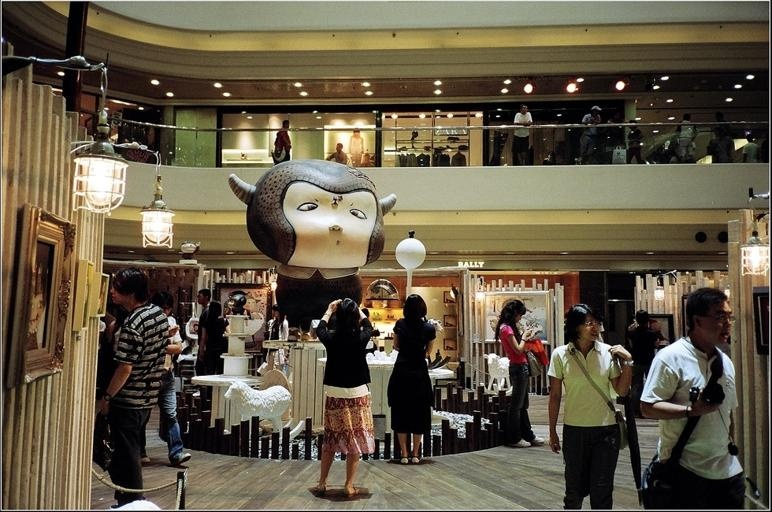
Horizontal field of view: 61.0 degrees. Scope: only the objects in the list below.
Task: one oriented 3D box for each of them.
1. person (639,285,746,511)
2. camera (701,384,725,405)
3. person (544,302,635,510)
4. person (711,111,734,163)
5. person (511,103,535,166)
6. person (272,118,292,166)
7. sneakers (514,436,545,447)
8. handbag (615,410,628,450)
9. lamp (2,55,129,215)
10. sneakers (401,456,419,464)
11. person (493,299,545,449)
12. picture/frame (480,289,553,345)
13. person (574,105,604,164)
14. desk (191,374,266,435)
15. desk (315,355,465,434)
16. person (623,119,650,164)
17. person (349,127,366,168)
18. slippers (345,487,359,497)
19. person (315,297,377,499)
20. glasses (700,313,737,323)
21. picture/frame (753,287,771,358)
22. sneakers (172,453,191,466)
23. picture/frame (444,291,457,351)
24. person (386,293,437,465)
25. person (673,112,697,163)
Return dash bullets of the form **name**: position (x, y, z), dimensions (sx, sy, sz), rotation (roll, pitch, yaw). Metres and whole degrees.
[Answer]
- **person**: position (2.214, 1.037, 4.739), dimensions (0.734, 1.594, 0.471), rotation (-1, -4, 12)
- **camera**: position (2.255, 0.933, 4.548), dimensions (0.139, 0.151, 0.154), rotation (6, -1, -39)
- **person**: position (1.680, 1.246, 5.386), dimensions (0.645, 1.672, 0.294), rotation (-1, -4, 14)
- **person**: position (6.679, -2.222, 12.915), dimensions (0.433, 0.756, 0.244), rotation (0, -4, -6)
- **person**: position (2.754, -2.443, 13.334), dimensions (0.414, 1.220, 0.703), rotation (-1, -4, 11)
- **person**: position (-2.094, -2.204, 13.078), dimensions (0.388, 0.744, 0.409), rotation (0, -4, -4)
- **sneakers**: position (1.766, 2.312, 8.083), dimensions (0.386, 0.158, 0.140), rotation (-2, -10, -2)
- **handbag**: position (1.915, 1.414, 5.319), dimensions (0.089, 0.333, 0.266), rotation (-1, -4, 19)
- **lamp**: position (-2.283, -0.984, 4.917), dimensions (0.608, 1.278, 1.260), rotation (1, -4, -10)
- **sneakers**: position (0.265, 2.271, 7.283), dimensions (0.203, 0.076, 0.076), rotation (0, -14, 2)
- **person**: position (1.613, 1.439, 7.941), dimensions (0.486, 1.802, 0.754), rotation (-1, -4, 15)
- **picture/frame**: position (2.220, 1.000, 10.829), dimensions (1.174, 0.964, 0.093), rotation (-1, -4, 19)
- **person**: position (4.071, -2.435, 13.087), dimensions (0.446, 1.161, 0.614), rotation (-1, -4, 17)
- **desk**: position (-2.000, 1.763, 8.114), dimensions (0.861, 0.643, 0.858), rotation (2, -7, -28)
- **desk**: position (0.159, 1.608, 8.199), dimensions (1.170, 0.852, 1.198), rotation (-1, -5, 16)
- **person**: position (5.044, -2.248, 13.051), dimensions (0.442, 0.787, 0.345), rotation (0, -4, 1)
- **person**: position (-0.594, -2.166, 13.317), dimensions (0.375, 0.725, 0.111), rotation (3, -5, -35)
- **slippers**: position (-0.328, 2.277, 6.343), dimensions (0.064, 0.070, 0.160), rotation (1, -1, 16)
- **person**: position (-0.403, 1.368, 6.317), dimensions (0.540, 1.892, 0.374), rotation (0, -4, 0)
- **glasses**: position (2.415, 0.452, 4.769), dimensions (0.219, 0.069, 0.215), rotation (-5, -11, 45)
- **picture/frame**: position (3.394, 0.594, 5.909), dimensions (0.116, 0.631, 0.264), rotation (-2, -4, 29)
- **sneakers**: position (-2.278, 2.220, 7.186), dimensions (0.286, 0.101, 0.124), rotation (-22, -28, 32)
- **picture/frame**: position (1.491, 1.499, 15.236), dimensions (0.307, 1.424, 0.324), rotation (0, -4, -5)
- **person**: position (0.274, 1.367, 7.203), dimensions (0.524, 1.871, 0.492), rotation (0, -4, 0)
- **person**: position (5.993, -2.247, 13.049), dimensions (0.396, 0.766, 0.279), rotation (-2, -4, 23)
